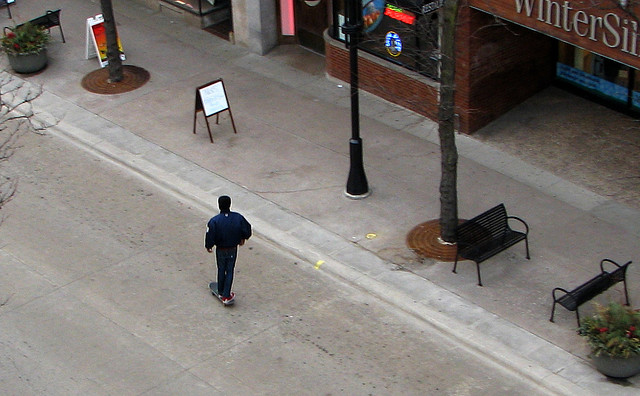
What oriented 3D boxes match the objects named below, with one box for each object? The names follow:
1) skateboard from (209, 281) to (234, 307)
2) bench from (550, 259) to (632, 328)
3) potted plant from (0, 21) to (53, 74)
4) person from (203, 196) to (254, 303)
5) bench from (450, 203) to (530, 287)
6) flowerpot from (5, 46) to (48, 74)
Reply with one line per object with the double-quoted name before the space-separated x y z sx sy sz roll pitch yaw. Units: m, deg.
"skateboard" -2.176 2.014 18.327 0.236 0.127 0.926 -39 45 -18
"bench" 5.565 1.927 17.546 1.912 0.802 0.766 -21 25 -39
"potted plant" -9.094 -4.448 25.874 1.925 1.219 1.565 -5 22 -6
"person" -1.928 1.109 17.775 0.753 2.291 1.229 15 49 17
"bench" 3.697 1.114 18.673 1.878 1.002 0.774 -20 36 -26
"flowerpot" -8.701 -3.984 25.384 1.175 0.516 0.942 -1 25 -1
